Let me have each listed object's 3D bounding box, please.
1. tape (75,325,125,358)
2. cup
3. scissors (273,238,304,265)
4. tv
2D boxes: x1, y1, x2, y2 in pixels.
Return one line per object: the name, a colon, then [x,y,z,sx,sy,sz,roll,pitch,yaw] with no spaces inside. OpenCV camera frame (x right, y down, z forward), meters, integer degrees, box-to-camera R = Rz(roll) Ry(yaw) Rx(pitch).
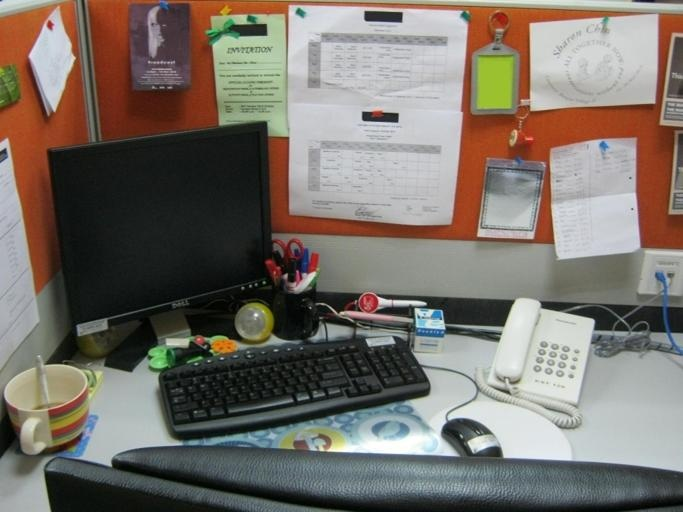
tape: [-0.525,0.191,1.229,0.068,0.067,0.067,0,16,-14]
cup: [-0.515,0.293,1.035,0.123,0.117,0.159,4,34,-5]
scissors: [-0.125,-0.009,1.348,0.069,0.073,0.013,9,51,1]
tv: [-0.393,-0.019,1.200,0.436,0.420,0.184,-16,23,-25]
